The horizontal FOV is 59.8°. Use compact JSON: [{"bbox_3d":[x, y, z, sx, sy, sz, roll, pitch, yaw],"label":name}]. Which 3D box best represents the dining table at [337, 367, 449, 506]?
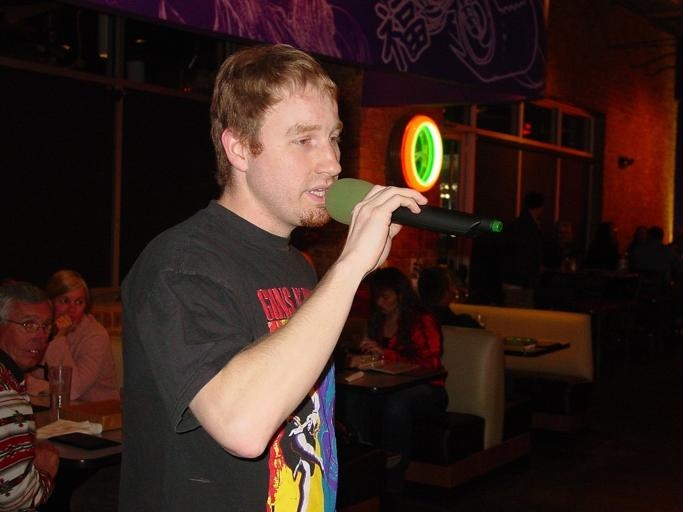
[{"bbox_3d":[0.316,1.224,4.697,1.121,0.908,0.880,1,1,37],"label":"dining table"}]

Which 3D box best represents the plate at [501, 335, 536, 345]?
[{"bbox_3d":[1.702,0.813,5.694,0.349,0.027,0.263,-2,4,-39],"label":"plate"}]

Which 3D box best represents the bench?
[{"bbox_3d":[1.592,1.243,5.547,1.602,1.080,1.506,-2,-3,39],"label":"bench"}]
